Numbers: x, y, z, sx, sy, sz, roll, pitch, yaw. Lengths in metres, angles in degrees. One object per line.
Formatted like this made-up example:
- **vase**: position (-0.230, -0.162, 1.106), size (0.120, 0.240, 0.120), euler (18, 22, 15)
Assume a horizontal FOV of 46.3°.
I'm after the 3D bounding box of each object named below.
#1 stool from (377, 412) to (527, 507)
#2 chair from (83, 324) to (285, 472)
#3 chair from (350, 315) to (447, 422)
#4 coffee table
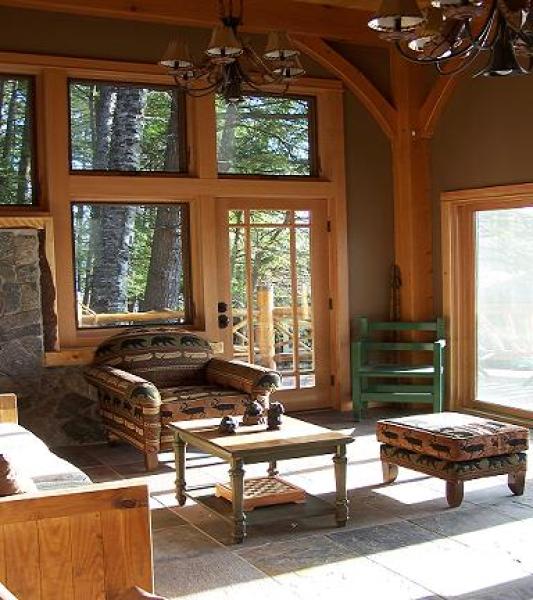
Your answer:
- **stool**: position (1.024, 0.817, 3.413), size (0.636, 0.284, 0.570), euler (1, 0, -26)
- **chair**: position (-0.637, 0.603, 4.480), size (1.258, 0.686, 1.149), euler (0, 0, -31)
- **chair**: position (1.185, 0.607, 5.558), size (1.286, 1.053, 0.721), euler (0, -2, 12)
- **coffee table**: position (-0.044, 0.887, 3.272), size (0.658, 0.451, 0.814), euler (-3, 1, -27)
